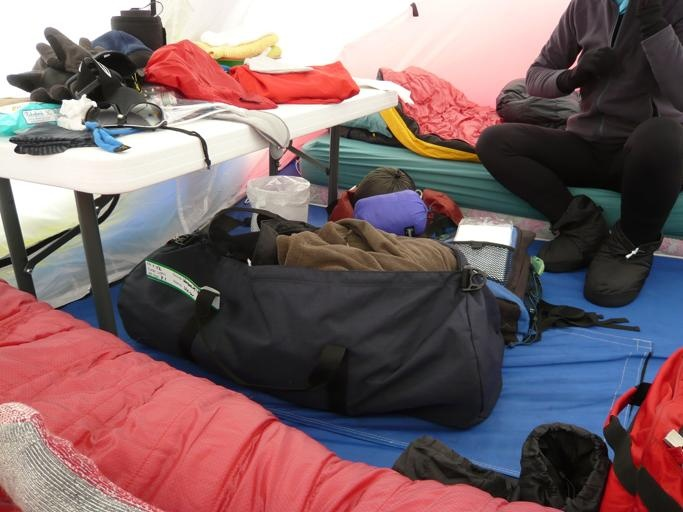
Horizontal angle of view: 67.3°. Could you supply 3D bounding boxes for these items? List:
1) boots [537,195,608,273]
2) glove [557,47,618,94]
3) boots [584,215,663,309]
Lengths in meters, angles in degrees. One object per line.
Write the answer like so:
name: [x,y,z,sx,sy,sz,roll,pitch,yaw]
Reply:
boots: [0.891,-0.078,1.955,0.286,0.255,0.183,-6,-1,42]
glove: [0.855,-0.655,1.807,0.104,0.168,0.164,-11,30,-12]
boots: [0.961,0.010,1.747,0.190,0.131,0.386,21,46,32]
